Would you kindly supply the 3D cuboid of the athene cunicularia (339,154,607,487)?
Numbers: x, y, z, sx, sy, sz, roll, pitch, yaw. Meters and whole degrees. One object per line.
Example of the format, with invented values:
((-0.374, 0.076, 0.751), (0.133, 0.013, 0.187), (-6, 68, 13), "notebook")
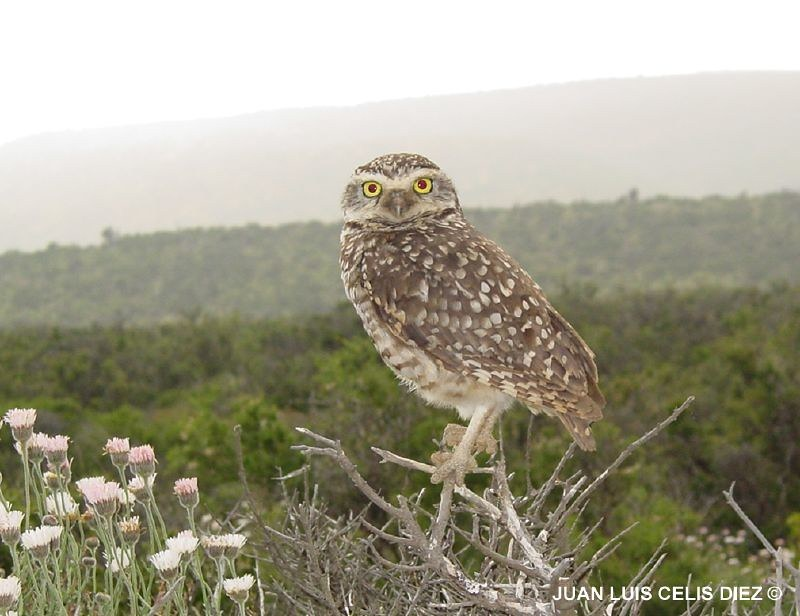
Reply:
((1.708, 0.069, 35.961), (5.987, 8.553, 3.857), (-2, 4, 12), "athene cunicularia")

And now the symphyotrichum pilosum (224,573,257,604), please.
((-3.797, 6.787, 33.837), (0.673, 0.619, 0.647), (20, -31, -40), "symphyotrichum pilosum")

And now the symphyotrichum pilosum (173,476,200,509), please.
((-5.143, 4.555, 34.077), (0.657, 0.939, 0.696), (-4, -15, -9), "symphyotrichum pilosum")

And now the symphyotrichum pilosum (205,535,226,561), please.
((-4.453, 5.775, 33.791), (0.476, 0.431, 0.493), (4, -8, -13), "symphyotrichum pilosum")
